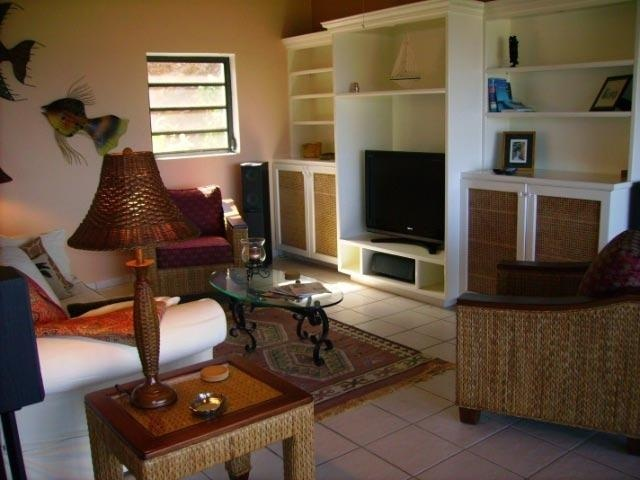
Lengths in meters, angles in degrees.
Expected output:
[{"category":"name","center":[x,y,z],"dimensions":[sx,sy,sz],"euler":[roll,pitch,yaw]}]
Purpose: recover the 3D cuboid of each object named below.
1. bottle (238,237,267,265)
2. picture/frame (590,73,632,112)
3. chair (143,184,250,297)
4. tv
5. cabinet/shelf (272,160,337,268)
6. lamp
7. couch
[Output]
[{"category":"bottle","center":[-0.584,0.079,4.038],"dimensions":[0.237,0.241,0.221],"euler":[-3,10,-16]},{"category":"picture/frame","center":[2.308,-1.137,3.799],"dimensions":[0.264,0.274,0.259],"euler":[5,16,27]},{"category":"chair","center":[-1.206,-0.129,5.282],"dimensions":[1.249,1.445,1.187],"euler":[-3,9,-18]},{"category":"tv","center":[0.861,-0.381,4.836],"dimensions":[0.287,0.889,1.100],"euler":[-10,13,-43]},{"category":"cabinet/shelf","center":[-0.193,-0.337,5.802],"dimensions":[0.504,1.065,1.269],"euler":[-7,13,-40]},{"category":"lamp","center":[-0.705,0.136,1.826],"dimensions":[0.391,0.933,0.331],"euler":[-13,18,-36]},{"category":"couch","center":[-1.161,0.491,2.642],"dimensions":[0.991,0.880,1.012],"euler":[-12,20,-37]}]
